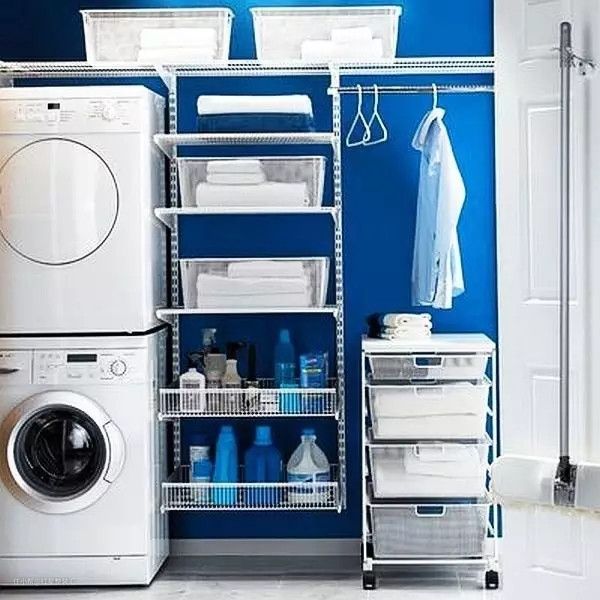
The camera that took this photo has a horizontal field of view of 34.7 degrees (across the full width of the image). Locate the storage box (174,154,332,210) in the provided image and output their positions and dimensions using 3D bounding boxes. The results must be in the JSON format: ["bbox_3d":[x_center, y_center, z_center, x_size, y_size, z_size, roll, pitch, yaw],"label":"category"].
[{"bbox_3d":[-0.197,-0.441,3.641,0.358,0.157,0.273,1,1,0],"label":"storage box"}]

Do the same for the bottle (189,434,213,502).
[{"bbox_3d":[-0.392,0.660,3.816,0.084,0.255,0.262,0,4,-5],"label":"bottle"}]

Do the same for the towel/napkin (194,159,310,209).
[{"bbox_3d":[-0.178,-0.443,3.646,0.437,0.177,0.041,0,3,2],"label":"towel/napkin"}]

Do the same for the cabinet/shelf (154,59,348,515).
[{"bbox_3d":[-0.195,-0.088,3.785,0.624,1.794,0.370,0,11,-1],"label":"cabinet/shelf"}]

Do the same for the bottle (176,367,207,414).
[{"bbox_3d":[-0.420,0.354,3.744,0.100,0.206,0.070,-4,-27,0],"label":"bottle"}]

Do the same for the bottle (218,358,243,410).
[{"bbox_3d":[-0.258,0.302,3.760,0.088,0.261,0.102,-12,40,-14],"label":"bottle"}]

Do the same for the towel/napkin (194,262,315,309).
[{"bbox_3d":[-0.178,-0.060,3.685,0.419,0.177,0.045,0,3,-4],"label":"towel/napkin"}]

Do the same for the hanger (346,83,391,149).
[{"bbox_3d":[0.288,-0.764,3.938,0.206,0.346,0.033,0,-6,4],"label":"hanger"}]

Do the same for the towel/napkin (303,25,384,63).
[{"bbox_3d":[0.169,-0.980,3.710,0.317,0.139,0.068,0,3,-3],"label":"towel/napkin"}]

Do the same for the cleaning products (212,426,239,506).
[{"bbox_3d":[-0.292,0.646,3.784,0.101,0.291,0.215,0,3,-3],"label":"cleaning products"}]

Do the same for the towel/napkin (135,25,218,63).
[{"bbox_3d":[-0.472,-0.989,3.642,0.239,0.162,0.062,0,1,2],"label":"towel/napkin"}]
